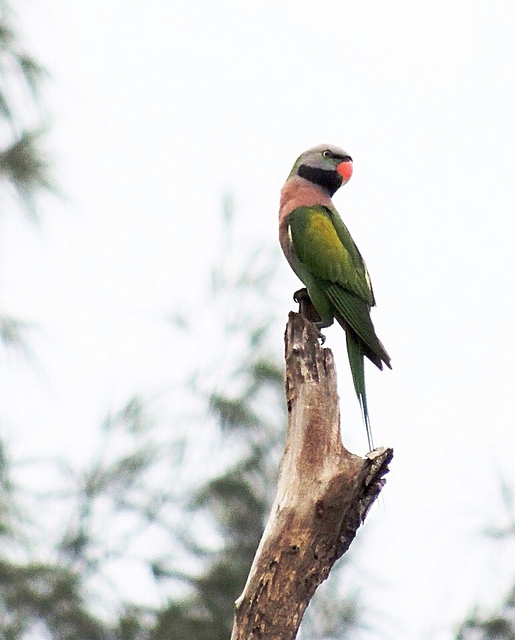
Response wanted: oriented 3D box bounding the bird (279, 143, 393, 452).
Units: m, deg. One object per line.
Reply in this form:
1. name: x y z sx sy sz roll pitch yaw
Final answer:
1. bird: 0.280 -0.098 4.818 0.452 1.231 0.324 5 -24 6
